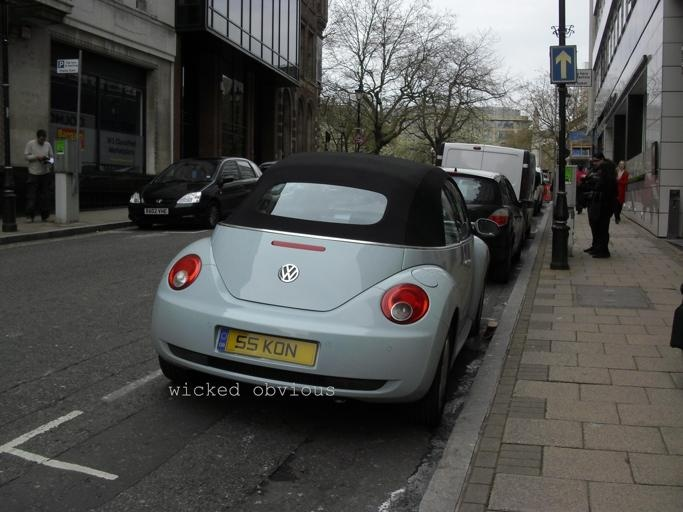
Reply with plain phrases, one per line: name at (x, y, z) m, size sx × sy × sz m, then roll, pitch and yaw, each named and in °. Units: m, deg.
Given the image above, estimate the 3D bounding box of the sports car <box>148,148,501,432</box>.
sports car at (-0.045, 0.148, 3.342) m, size 1.406 × 1.227 × 2.504 m, roll 7°, pitch 15°, yaw 15°

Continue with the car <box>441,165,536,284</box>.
car at (3.087, -0.749, 10.054) m, size 1.507 × 1.530 × 2.910 m, roll 2°, pitch 13°, yaw 18°

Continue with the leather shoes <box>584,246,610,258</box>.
leather shoes at (5.966, -0.094, 11.907) m, size 0.622 × 0.320 × 0.233 m, roll 10°, pitch 11°, yaw 30°

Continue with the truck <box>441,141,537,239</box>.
truck at (5.313, -2.478, 17.602) m, size 2.287 × 2.452 × 4.242 m, roll 2°, pitch 9°, yaw 15°
